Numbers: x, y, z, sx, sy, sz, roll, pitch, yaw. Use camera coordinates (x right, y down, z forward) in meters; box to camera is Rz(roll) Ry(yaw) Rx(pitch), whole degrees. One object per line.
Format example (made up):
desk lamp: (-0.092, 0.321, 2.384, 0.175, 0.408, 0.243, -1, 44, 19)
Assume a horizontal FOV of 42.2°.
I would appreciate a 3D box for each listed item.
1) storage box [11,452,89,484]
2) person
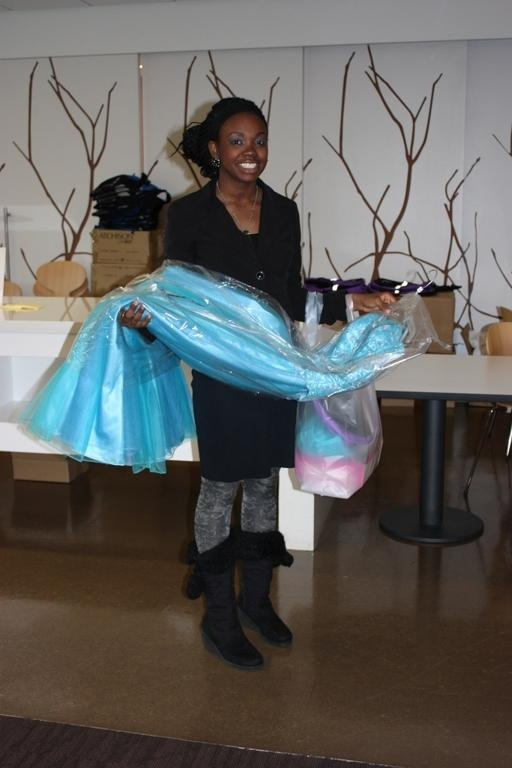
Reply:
storage box: (-1.046, 0.410, 3.377, 0.358, 0.152, 0.207, -3, 9, -14)
person: (-0.042, 0.034, 1.713, 0.612, 1.422, 0.389, -3, 9, -15)
